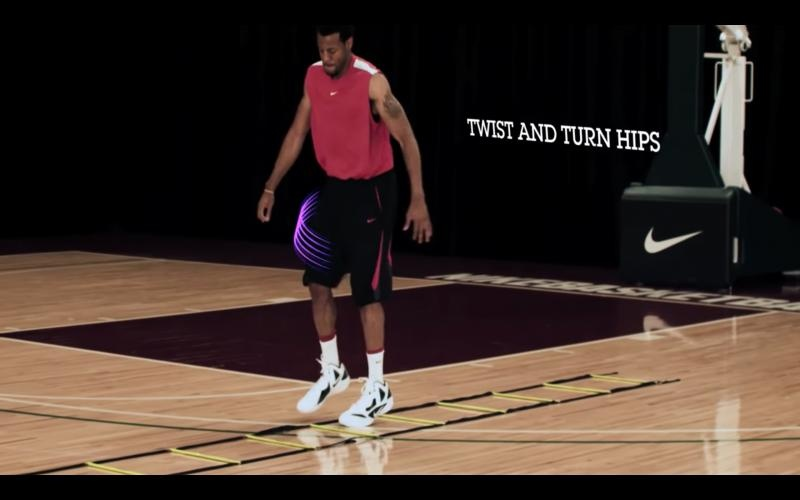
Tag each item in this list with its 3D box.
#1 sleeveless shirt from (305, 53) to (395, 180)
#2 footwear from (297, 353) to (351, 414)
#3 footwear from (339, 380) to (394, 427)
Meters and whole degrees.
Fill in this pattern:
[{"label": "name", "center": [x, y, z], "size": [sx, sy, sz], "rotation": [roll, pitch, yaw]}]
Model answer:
[{"label": "sleeveless shirt", "center": [-0.259, -0.613, 2.996], "size": [0.409, 0.574, 0.174], "rotation": [-2, 4, 13]}, {"label": "footwear", "center": [-0.384, 0.641, 3.120], "size": [0.120, 0.203, 0.332], "rotation": [17, 36, 36]}, {"label": "footwear", "center": [-0.163, 0.700, 2.987], "size": [0.122, 0.178, 0.347], "rotation": [-3, 7, 35]}]
